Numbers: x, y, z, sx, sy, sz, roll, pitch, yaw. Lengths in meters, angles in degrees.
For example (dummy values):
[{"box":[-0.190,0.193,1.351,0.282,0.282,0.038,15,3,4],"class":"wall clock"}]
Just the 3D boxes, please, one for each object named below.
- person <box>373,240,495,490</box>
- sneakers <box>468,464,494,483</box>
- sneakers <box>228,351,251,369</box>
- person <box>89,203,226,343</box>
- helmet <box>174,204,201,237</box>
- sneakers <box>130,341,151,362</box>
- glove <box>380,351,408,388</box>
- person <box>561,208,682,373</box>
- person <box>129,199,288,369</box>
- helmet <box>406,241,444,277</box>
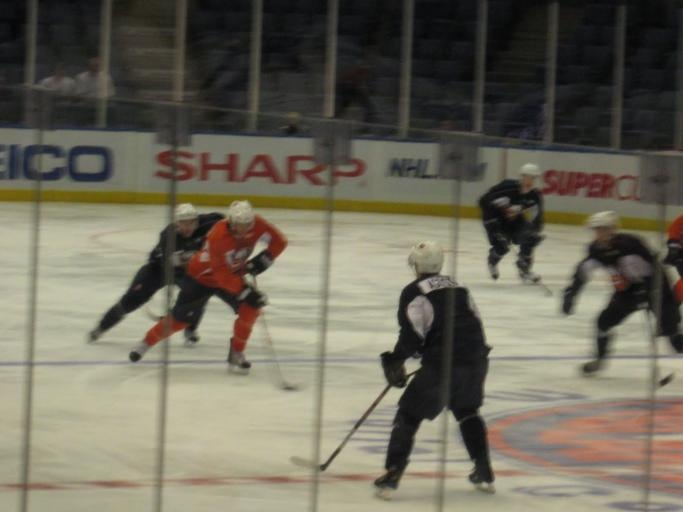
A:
[{"box":[0.562,0.745,7.485,0.706,1.257,0.217,4,6,1],"class":"person"},{"box":[0.802,1.263,7.558,0.188,0.129,0.075,2,10,16],"class":"sneakers"},{"box":[-0.608,0.617,7.624,0.160,0.078,0.076,1,-2,-3],"class":"sneakers"},{"box":[-1.078,0.098,7.475,0.734,0.815,0.256,3,6,-4],"class":"person"},{"box":[-0.904,-0.212,7.507,0.181,0.142,0.182,-1,5,-10],"class":"helmet"},{"box":[-1.166,0.548,7.499,0.083,0.144,0.061,48,-5,-5],"class":"sneakers"},{"box":[0.293,0.658,7.560,0.183,0.183,0.094,-5,4,14],"class":"glove"},{"box":[1.639,0.224,7.928,0.577,0.995,0.135,3,6,-1],"class":"person"},{"box":[-0.815,0.155,7.535,1.051,0.986,0.492,-7,32,-36],"class":"person"},{"box":[0.488,0.014,7.538,0.198,0.159,0.213,-1,15,-9],"class":"helmet"}]
